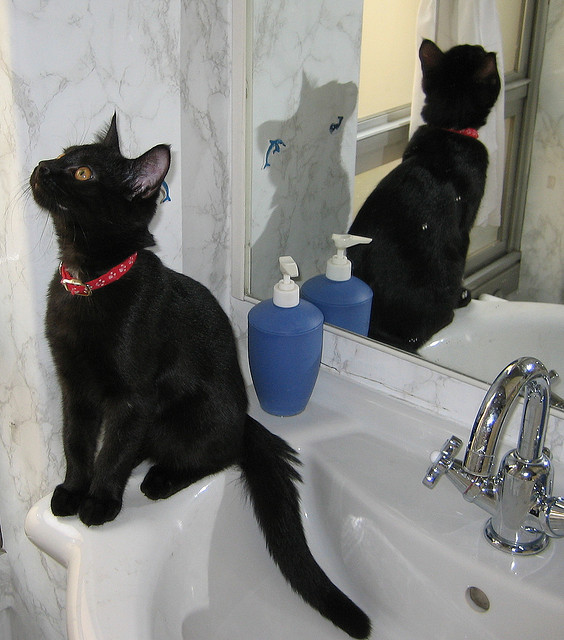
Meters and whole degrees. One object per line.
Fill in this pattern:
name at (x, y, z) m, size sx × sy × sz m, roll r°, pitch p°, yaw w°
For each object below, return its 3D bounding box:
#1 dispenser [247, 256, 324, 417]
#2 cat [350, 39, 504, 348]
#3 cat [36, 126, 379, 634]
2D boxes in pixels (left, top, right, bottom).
dispenser at (0.005, 0.040, 0.874) m, size 0.087 × 0.241 × 0.120 m, roll -12°, pitch 34°, yaw -25°
cat at (0.188, -0.161, 0.839) m, size 0.118 × 0.410 × 0.188 m, roll 18°, pitch 18°, yaw 33°
cat at (-0.084, 0.059, 0.691) m, size 0.381 × 0.496 × 0.273 m, roll 7°, pitch 20°, yaw 11°
